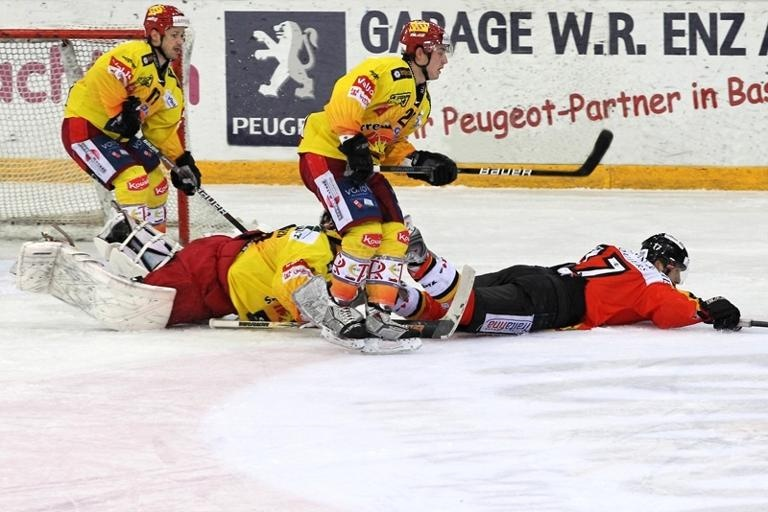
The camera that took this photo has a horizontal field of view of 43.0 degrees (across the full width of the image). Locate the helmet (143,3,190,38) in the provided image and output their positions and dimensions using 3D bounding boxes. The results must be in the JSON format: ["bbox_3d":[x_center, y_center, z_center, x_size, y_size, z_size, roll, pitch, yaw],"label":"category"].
[{"bbox_3d":[-1.322,-1.442,5.938,0.263,0.199,0.169,2,9,-6],"label":"helmet"}]

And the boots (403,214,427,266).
[{"bbox_3d":[0.163,-0.085,4.985,0.131,0.253,0.196,4,9,0],"label":"boots"}]

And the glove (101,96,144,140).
[{"bbox_3d":[-1.597,-0.853,5.961,0.213,0.259,0.270,1,8,-13],"label":"glove"}]

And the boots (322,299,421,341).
[{"bbox_3d":[-0.062,0.304,4.656,0.342,0.177,0.317,5,7,21],"label":"boots"}]

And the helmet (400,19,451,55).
[{"bbox_3d":[0.219,-1.122,4.999,0.246,0.184,0.200,2,8,-1],"label":"helmet"}]

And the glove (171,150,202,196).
[{"bbox_3d":[-1.269,-0.536,6.243,0.183,0.278,0.232,2,9,-10],"label":"glove"}]

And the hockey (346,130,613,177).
[{"bbox_3d":[0.650,-0.635,6.196,0.098,0.255,2.041,-13,11,-36],"label":"hockey"}]

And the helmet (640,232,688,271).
[{"bbox_3d":[1.504,-0.025,5.213,0.249,0.192,0.130,4,9,10],"label":"helmet"}]
